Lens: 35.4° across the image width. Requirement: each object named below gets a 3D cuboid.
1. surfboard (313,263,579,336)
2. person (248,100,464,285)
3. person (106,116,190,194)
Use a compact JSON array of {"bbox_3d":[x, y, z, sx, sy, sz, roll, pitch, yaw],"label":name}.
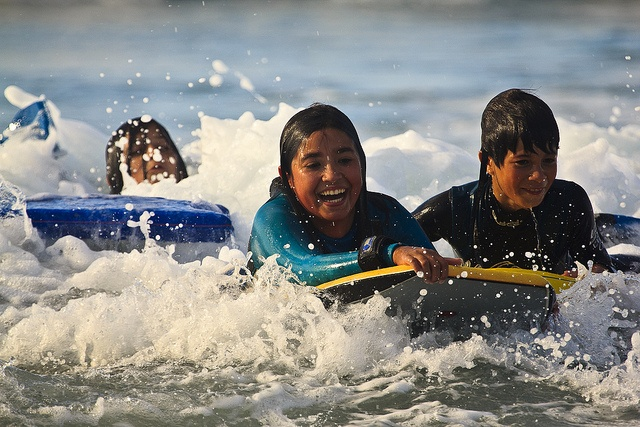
[{"bbox_3d":[1.499,0.612,8.342,1.422,0.420,1.894,2,2,11],"label":"surfboard"},{"bbox_3d":[0.158,-0.170,7.791,1.447,1.444,1.005,-1,2,-5],"label":"person"},{"bbox_3d":[-2.433,-0.878,13.594,0.871,1.153,1.182,-6,-1,-24],"label":"person"}]
